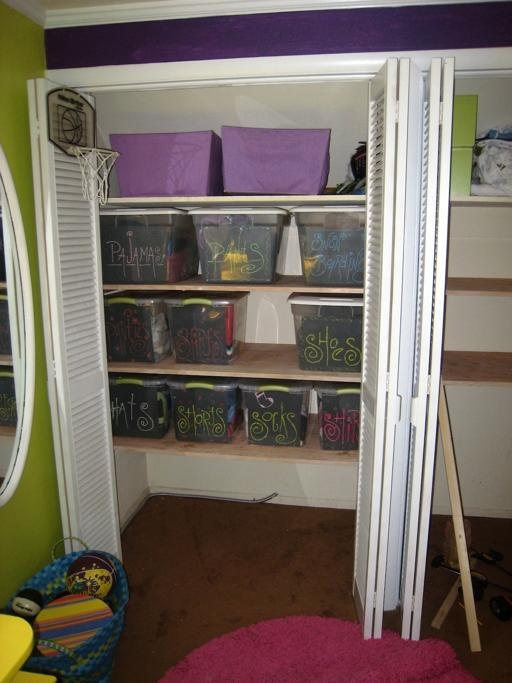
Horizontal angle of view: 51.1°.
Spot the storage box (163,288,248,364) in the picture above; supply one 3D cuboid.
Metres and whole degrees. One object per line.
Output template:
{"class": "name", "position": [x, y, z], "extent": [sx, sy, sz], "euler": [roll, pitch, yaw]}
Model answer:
{"class": "storage box", "position": [-0.224, -0.079, 2.450], "extent": [0.233, 0.271, 0.364], "euler": [1, 14, 8]}

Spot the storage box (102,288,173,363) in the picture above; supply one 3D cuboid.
{"class": "storage box", "position": [-0.521, -0.085, 2.472], "extent": [0.301, 0.322, 0.289], "euler": [0, 9, -1]}

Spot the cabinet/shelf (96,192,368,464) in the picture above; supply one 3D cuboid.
{"class": "cabinet/shelf", "position": [-0.115, -0.063, 2.303], "extent": [1.045, 0.994, 0.398], "euler": [4, 23, 16]}

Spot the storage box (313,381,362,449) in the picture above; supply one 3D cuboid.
{"class": "storage box", "position": [0.360, 0.300, 2.455], "extent": [0.299, 0.342, 0.238], "euler": [0, 18, 8]}

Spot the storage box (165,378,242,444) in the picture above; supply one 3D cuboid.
{"class": "storage box", "position": [-0.249, 0.312, 2.440], "extent": [0.250, 0.245, 0.315], "euler": [1, 1, 7]}

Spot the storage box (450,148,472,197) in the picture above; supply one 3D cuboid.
{"class": "storage box", "position": [0.744, -0.615, 1.946], "extent": [0.067, 0.164, 0.031], "euler": [2, 11, 16]}

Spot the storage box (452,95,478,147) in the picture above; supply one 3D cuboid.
{"class": "storage box", "position": [0.744, -0.787, 1.911], "extent": [0.069, 0.190, 0.165], "euler": [5, 13, 26]}

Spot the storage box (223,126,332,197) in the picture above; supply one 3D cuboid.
{"class": "storage box", "position": [0.078, -0.644, 2.064], "extent": [0.294, 0.198, 0.314], "euler": [0, 18, 3]}

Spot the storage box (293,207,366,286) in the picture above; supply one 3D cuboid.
{"class": "storage box", "position": [0.280, -0.379, 2.143], "extent": [0.317, 0.298, 0.271], "euler": [0, 9, 3]}

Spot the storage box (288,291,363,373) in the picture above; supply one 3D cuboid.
{"class": "storage box", "position": [0.301, -0.058, 2.358], "extent": [0.380, 0.402, 0.284], "euler": [1, 11, 9]}

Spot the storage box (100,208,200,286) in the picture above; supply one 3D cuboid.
{"class": "storage box", "position": [-0.474, -0.400, 2.293], "extent": [0.272, 0.239, 0.358], "euler": [3, 9, 12]}
